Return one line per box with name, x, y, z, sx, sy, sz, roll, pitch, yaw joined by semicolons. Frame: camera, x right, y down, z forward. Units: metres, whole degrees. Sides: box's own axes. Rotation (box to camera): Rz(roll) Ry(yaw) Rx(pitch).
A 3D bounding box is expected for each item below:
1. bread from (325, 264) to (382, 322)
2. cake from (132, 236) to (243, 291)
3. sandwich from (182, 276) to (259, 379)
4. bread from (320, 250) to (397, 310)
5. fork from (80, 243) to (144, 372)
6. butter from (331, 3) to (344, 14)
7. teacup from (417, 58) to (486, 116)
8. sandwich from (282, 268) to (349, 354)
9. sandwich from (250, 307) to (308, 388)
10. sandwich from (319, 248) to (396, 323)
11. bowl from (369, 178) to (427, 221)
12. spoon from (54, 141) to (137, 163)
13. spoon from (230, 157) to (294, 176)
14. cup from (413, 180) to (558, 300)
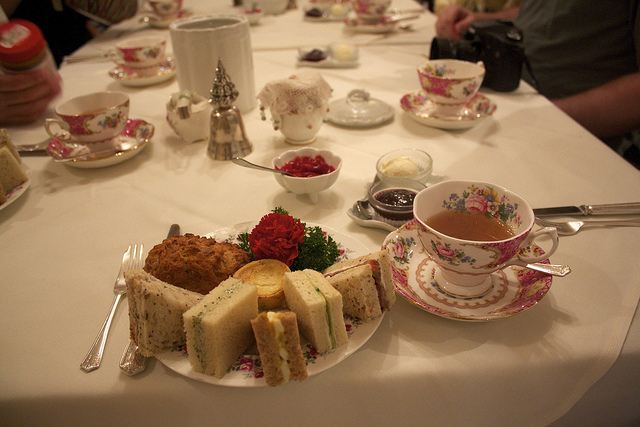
bread;0.111;0.261;1.408;0.085;0.138;0.150;-15;16;-25
cake;-0.433;0.164;1.511;0.241;0.081;0.218;8;25;15
sandwich;-0.301;0.362;1.357;0.128;0.205;0.223;5;30;35
bread;0.141;0.214;1.527;0.234;0.196;0.208;10;23;20
fork;-0.711;0.249;1.562;0.082;0.066;0.575;18;60;-22
butter;0.151;-1.789;3.895;0.090;0.068;0.090;1;35;3
teacup;0.654;-0.666;2.294;0.251;0.306;0.361;-17;26;-34
sandwich;0.089;0.281;1.494;0.215;0.178;0.321;50;23;26
sandwich;-0.122;0.396;1.317;0.142;0.237;0.074;-9;3;-2
sandwich;0.133;0.252;1.515;0.134;0.176;0.247;-23;7;-31
bowl;0.314;-0.026;1.773;0.188;0.086;0.186;-1;37;1
spoon;-1.092;-0.294;2.129;0.212;0.032;0.058;-17;44;-20
spoon;-0.259;-0.205;1.976;0.336;0.059;0.035;15;13;19
cup;0.525;0.109;1.481;0.438;0.310;0.367;9;32;24
